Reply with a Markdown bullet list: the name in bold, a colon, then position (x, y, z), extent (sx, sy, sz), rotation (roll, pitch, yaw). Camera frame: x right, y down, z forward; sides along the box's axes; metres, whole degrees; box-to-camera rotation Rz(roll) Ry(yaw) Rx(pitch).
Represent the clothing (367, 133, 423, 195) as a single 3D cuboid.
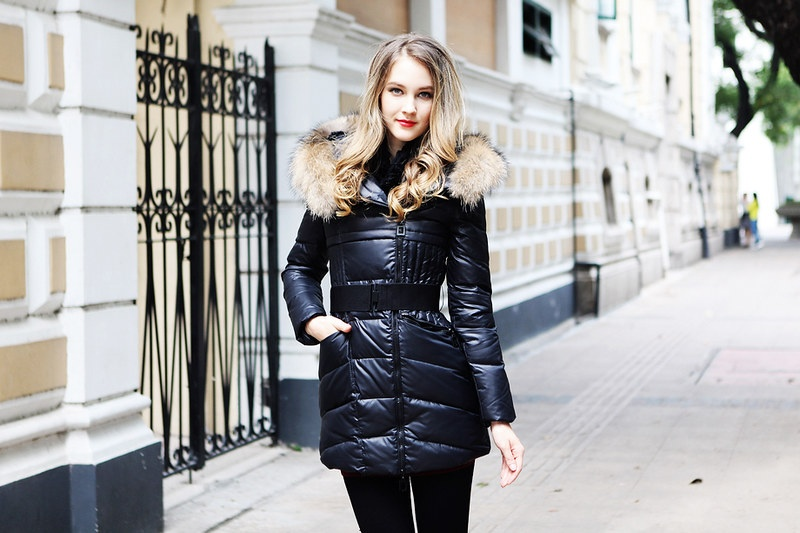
- **clothing**: position (-0.043, -0.508, 4.431), extent (0.214, 0.324, 0.124), rotation (8, -3, 5)
